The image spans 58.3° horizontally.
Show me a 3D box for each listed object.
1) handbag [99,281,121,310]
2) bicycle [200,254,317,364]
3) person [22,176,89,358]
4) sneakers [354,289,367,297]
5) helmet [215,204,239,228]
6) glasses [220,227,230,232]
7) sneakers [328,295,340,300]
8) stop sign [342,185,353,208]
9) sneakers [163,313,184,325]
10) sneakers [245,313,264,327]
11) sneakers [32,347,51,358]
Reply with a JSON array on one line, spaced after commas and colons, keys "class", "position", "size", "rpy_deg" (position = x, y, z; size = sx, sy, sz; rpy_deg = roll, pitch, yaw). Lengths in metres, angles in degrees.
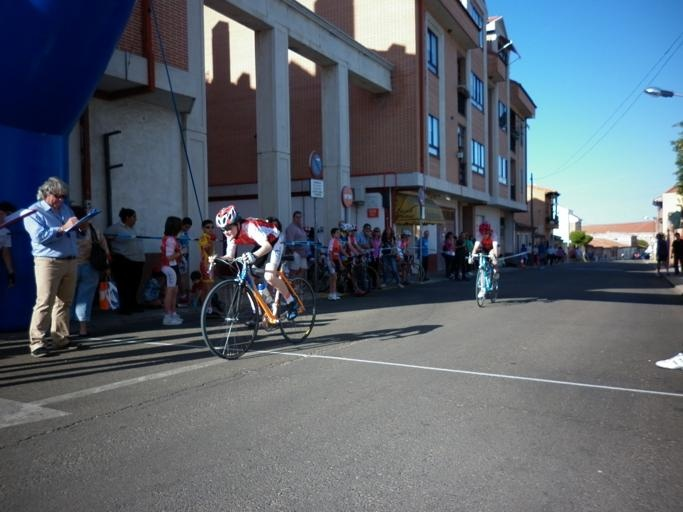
[{"class": "handbag", "position": [-4.006, 0.674, 10.477], "size": [0.321, 0.466, 0.236], "rpy_deg": [-1, -1, -1]}, {"class": "bicycle", "position": [-1.215, 0.720, 8.755], "size": [0.435, 1.424, 2.090], "rpy_deg": [-2, -1, 28]}, {"class": "person", "position": [-4.177, 0.164, 8.780], "size": [0.658, 2.514, 0.812], "rpy_deg": [-1, -1, -23]}, {"class": "sneakers", "position": [0.528, 1.034, 16.937], "size": [0.335, 0.186, 0.131], "rpy_deg": [-7, 22, 18]}, {"class": "helmet", "position": [-1.572, -0.527, 8.395], "size": [0.288, 0.335, 0.397], "rpy_deg": [-1, -1, -11]}, {"class": "glasses", "position": [-1.601, -0.339, 8.409], "size": [0.101, 0.058, 0.170], "rpy_deg": [-2, -1, -5]}, {"class": "sneakers", "position": [-0.205, 1.110, 15.963], "size": [0.259, 0.235, 0.126], "rpy_deg": [-3, -4, 25]}, {"class": "stop sign", "position": [0.172, -2.005, 20.924], "size": [0.106, 1.009, 0.877], "rpy_deg": [-2, -1, 27]}, {"class": "sneakers", "position": [-3.133, 1.180, 11.289], "size": [0.331, 0.214, 0.258], "rpy_deg": [-1, -1, -22]}, {"class": "sneakers", "position": [-1.271, 0.964, 8.795], "size": [0.095, 0.263, 0.311], "rpy_deg": [-7, -12, 33]}, {"class": "sneakers", "position": [-4.267, 1.360, 8.649], "size": [0.244, 0.153, 0.318], "rpy_deg": [-1, -2, -35]}]
